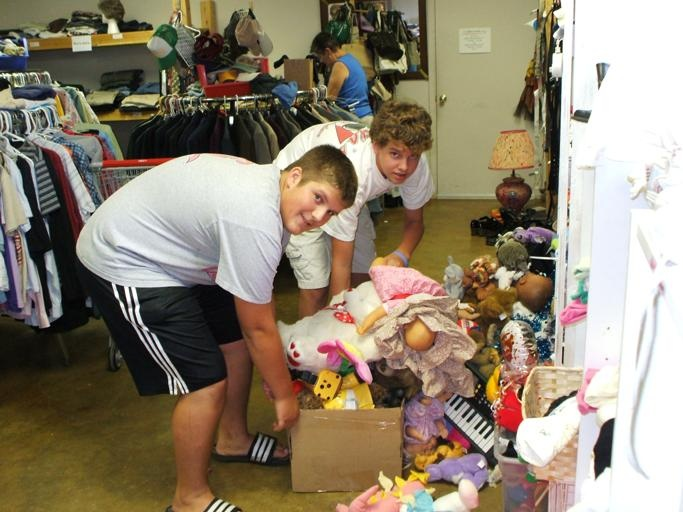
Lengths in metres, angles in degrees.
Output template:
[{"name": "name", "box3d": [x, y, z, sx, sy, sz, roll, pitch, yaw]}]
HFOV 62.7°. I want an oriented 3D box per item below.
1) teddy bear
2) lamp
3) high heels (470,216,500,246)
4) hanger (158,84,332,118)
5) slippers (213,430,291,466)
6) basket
[{"name": "teddy bear", "box3d": [0.228, 0.255, 1.969, 0.814, 0.726, 0.337, -16, 3, 10]}, {"name": "lamp", "box3d": [1.497, -0.712, 4.865, 0.381, 0.758, 0.403, -7, 11, 0]}, {"name": "high heels", "box3d": [1.238, -0.223, 4.828, 0.129, 0.181, 0.401, 3, 12, 13]}, {"name": "hanger", "box3d": [-0.613, -0.962, 3.514, 0.461, 0.148, 0.520, 8, 18, 31]}, {"name": "slippers", "box3d": [-0.329, 0.689, 2.066, 0.264, 0.106, 0.117, 2, 8, 0]}, {"name": "basket", "box3d": [0.469, 0.340, 1.209, 0.088, 0.244, 0.163, 7, -6, -31]}]
